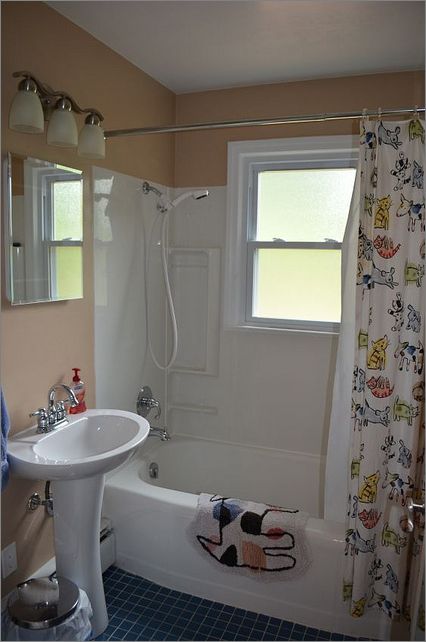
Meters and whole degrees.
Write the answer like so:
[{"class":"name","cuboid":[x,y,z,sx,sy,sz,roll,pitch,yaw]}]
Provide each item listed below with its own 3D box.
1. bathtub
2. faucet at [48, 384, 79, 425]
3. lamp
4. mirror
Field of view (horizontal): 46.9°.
[{"class":"bathtub","cuboid":[0.182,0.930,2.394,1.293,0.439,0.915,4,7,20]},{"class":"faucet","cuboid":[-0.561,0.304,1.817,0.101,0.144,0.151,-2,3,-2]},{"class":"lamp","cuboid":[-0.547,-0.728,1.713,0.185,0.232,0.539,3,7,15]},{"class":"mirror","cuboid":[-0.615,-0.332,1.769,0.052,0.622,0.507,3,7,20]}]
